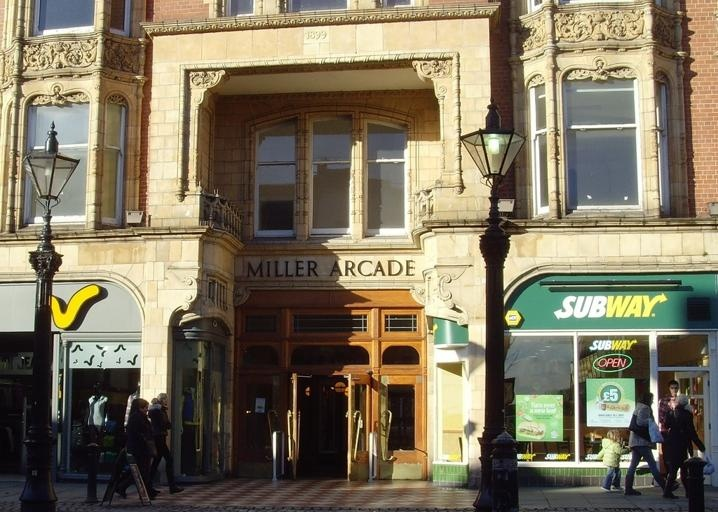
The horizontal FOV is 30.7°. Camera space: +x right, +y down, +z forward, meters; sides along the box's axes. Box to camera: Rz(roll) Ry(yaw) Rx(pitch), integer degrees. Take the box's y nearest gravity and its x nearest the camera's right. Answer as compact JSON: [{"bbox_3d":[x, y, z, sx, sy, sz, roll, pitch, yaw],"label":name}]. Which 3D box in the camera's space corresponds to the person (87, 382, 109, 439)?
[{"bbox_3d":[-6.382,3.817,32.012,0.537,1.418,0.172,0,-8,-5],"label":"person"}]

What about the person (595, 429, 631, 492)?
[{"bbox_3d":[5.803,4.667,30.085,0.775,1.376,0.782,3,-8,-39],"label":"person"}]

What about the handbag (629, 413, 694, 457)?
[{"bbox_3d":[6.774,3.961,29.292,0.604,1.585,0.974,-6,-1,-28],"label":"handbag"}]
